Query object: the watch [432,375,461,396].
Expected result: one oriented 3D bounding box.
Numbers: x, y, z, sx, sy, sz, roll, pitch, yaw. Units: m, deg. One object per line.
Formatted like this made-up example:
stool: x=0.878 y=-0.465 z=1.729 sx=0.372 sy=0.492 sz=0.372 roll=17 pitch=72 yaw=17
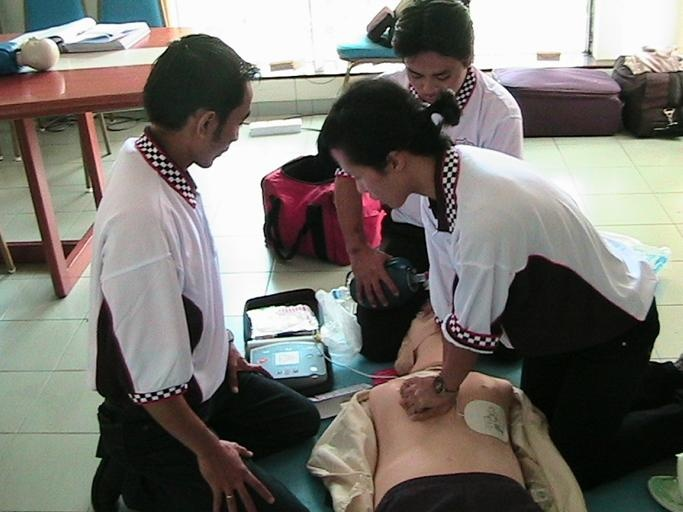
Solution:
watch: x=0.319 y=0.393 z=1.570 sx=0.060 sy=0.055 sz=0.024 roll=15 pitch=55 yaw=-24
